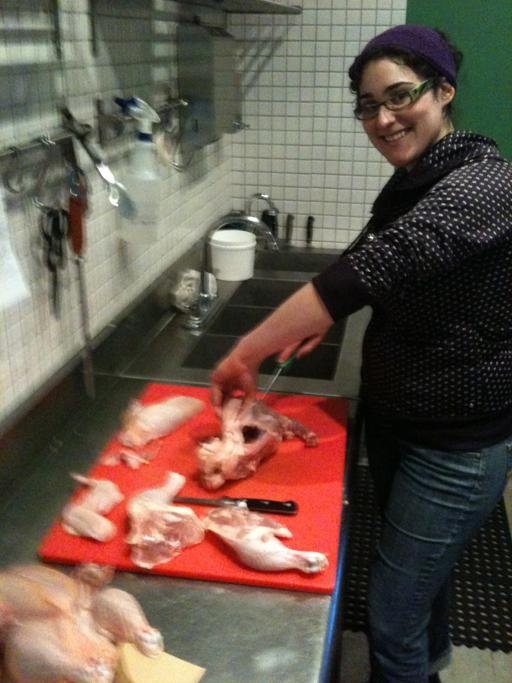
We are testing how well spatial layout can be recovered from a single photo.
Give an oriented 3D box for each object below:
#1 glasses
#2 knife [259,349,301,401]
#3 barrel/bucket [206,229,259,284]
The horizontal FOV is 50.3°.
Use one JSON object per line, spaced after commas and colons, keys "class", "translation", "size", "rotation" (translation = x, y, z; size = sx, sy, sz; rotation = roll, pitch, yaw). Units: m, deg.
{"class": "glasses", "translation": [0.241, -0.422, 0.955], "size": [0.074, 0.021, 0.074], "rotation": [-41, 23, -27]}
{"class": "knife", "translation": [0.058, 0.093, 1.453], "size": [0.026, 0.156, 0.019], "rotation": [31, 12, -40]}
{"class": "barrel/bucket", "translation": [-0.078, -0.350, 2.193], "size": [0.209, 0.165, 0.204], "rotation": [-1, 29, 1]}
